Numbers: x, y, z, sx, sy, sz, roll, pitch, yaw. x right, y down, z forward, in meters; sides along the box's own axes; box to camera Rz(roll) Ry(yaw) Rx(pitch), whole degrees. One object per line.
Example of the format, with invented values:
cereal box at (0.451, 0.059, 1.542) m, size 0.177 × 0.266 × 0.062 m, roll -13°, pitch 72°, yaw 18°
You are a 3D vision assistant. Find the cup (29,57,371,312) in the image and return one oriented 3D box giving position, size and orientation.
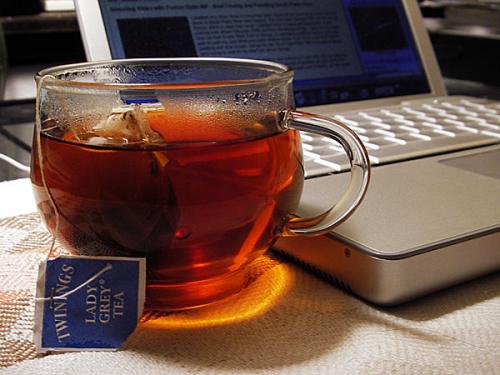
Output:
cup at (-0.031, -0.013, 0.301) m, size 0.224 × 0.101 × 0.156 m, roll 9°, pitch 22°, yaw 30°
